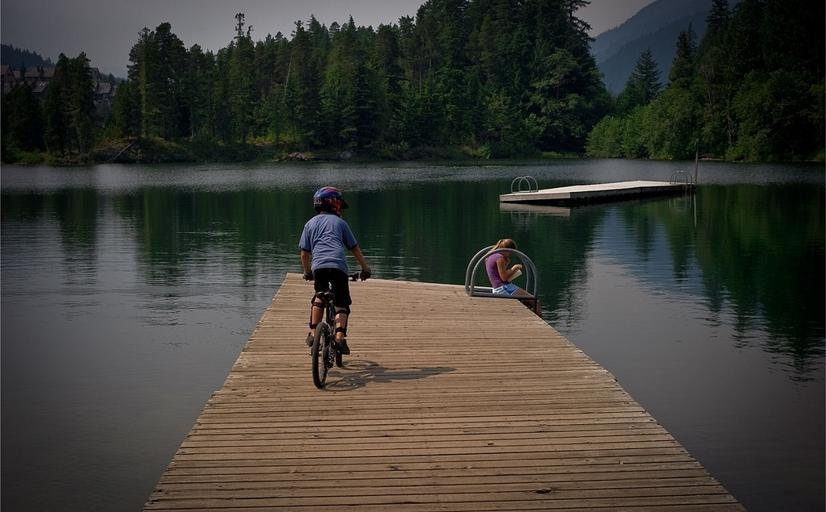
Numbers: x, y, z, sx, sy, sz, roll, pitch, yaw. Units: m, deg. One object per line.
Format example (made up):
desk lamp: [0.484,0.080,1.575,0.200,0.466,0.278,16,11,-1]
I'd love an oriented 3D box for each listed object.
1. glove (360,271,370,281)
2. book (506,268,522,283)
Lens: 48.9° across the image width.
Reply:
glove: [-1.232,0.542,22.925,0.212,0.109,0.260,6,-24,-9]
book: [3.142,0.619,28.212,0.544,0.151,0.402,-36,-10,25]
